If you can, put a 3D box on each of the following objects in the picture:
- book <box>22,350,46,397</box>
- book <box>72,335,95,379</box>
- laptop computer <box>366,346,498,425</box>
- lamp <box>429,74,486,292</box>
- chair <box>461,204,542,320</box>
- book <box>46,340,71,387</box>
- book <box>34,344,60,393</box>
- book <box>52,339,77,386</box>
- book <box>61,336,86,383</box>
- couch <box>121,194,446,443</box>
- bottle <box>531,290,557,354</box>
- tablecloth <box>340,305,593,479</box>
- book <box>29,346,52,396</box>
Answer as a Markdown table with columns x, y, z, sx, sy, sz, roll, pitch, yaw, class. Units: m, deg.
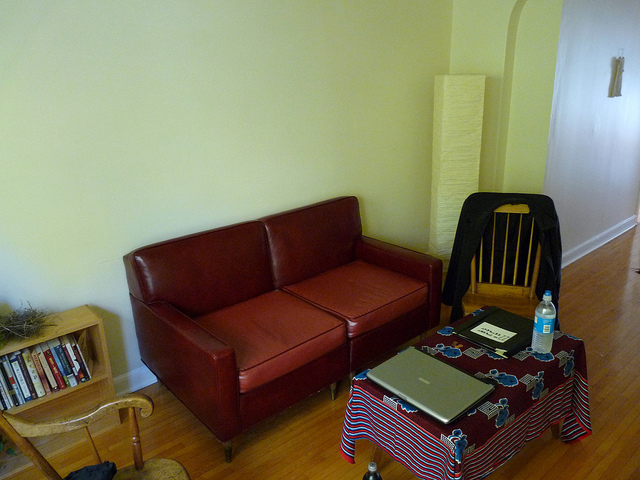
| x | y | z | sx | sy | sz | roll | pitch | yaw | class |
| --- | --- | --- | --- | --- | --- | --- | --- | --- | --- |
| -1.611 | 0.762 | 2.826 | 0.049 | 0.210 | 0.203 | -17 | -7 | -20 | book |
| -1.439 | 0.711 | 2.983 | 0.046 | 0.199 | 0.185 | -27 | 22 | -20 | book |
| 0.579 | 0.736 | 2.549 | 0.550 | 0.113 | 0.402 | 14 | 26 | 42 | laptop computer |
| 1.180 | -0.436 | 4.309 | 0.415 | 1.938 | 0.407 | 2 | 20 | 15 | lamp |
| 1.311 | 0.148 | 3.536 | 0.484 | 0.846 | 0.572 | 7 | 38 | 14 | chair |
| -1.533 | 0.723 | 2.900 | 0.049 | 0.207 | 0.197 | -25 | 4 | -25 | book |
| -1.570 | 0.748 | 2.874 | 0.051 | 0.218 | 0.209 | -17 | 15 | -17 | book |
| -1.509 | 0.726 | 2.915 | 0.050 | 0.219 | 0.204 | -17 | 12 | -12 | book |
| -1.452 | 0.709 | 2.942 | 0.050 | 0.214 | 0.196 | -26 | 28 | -30 | book |
| -0.167 | 0.410 | 3.534 | 2.040 | 0.979 | 1.151 | -17 | 25 | -41 | couch |
| 1.257 | 0.419 | 2.737 | 0.114 | 0.380 | 0.215 | 6 | 22 | 25 | bottle |
| 0.715 | 0.743 | 2.488 | 1.202 | 0.605 | 0.820 | -21 | 30 | -35 | tablecloth |
| -1.586 | 0.752 | 2.855 | 0.048 | 0.214 | 0.204 | -16 | 16 | -17 | book |
